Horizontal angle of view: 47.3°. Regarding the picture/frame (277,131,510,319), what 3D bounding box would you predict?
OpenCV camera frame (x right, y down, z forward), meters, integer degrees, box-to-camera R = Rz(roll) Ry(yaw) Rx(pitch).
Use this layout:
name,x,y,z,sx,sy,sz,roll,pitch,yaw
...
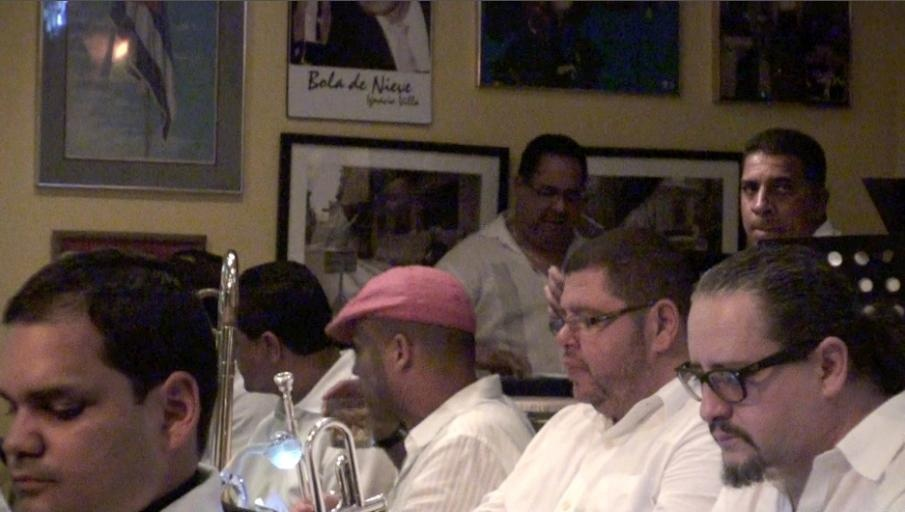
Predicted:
name,x,y,z,sx,sy,sz,roll,pitch,yaw
picture/frame,-0.176,-0.112,3.240,0.555,0.480,0.023,1,6,-6

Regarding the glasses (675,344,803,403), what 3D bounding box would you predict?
name,x,y,z,sx,sy,sz,roll,pitch,yaw
glasses,0.752,0.287,2.591,0.187,0.059,0.185,-19,-11,-14

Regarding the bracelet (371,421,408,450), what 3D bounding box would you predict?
name,x,y,z,sx,sy,sz,roll,pitch,yaw
bracelet,-0.195,0.563,3.214,0.081,0.082,0.021,-18,-52,31

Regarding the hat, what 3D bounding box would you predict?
name,x,y,z,sx,sy,sz,roll,pitch,yaw
hat,-0.135,0.137,3.246,0.315,0.161,0.236,3,-14,8
